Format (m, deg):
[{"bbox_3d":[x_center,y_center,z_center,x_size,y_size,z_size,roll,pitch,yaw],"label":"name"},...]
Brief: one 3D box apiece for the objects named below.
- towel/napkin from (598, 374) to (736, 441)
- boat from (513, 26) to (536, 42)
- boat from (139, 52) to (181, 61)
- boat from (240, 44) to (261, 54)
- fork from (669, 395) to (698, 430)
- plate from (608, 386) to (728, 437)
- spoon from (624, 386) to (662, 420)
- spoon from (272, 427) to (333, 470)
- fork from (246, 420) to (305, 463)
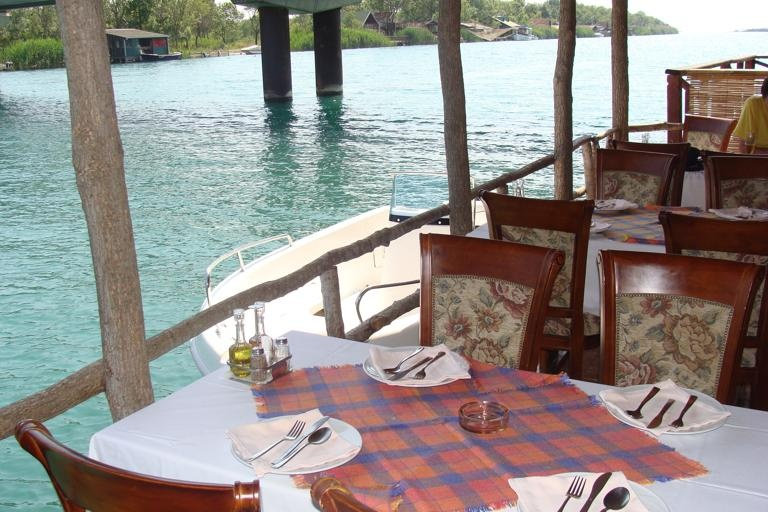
[{"bbox_3d":[0.732,0.395,1.675,0.180,0.023,0.171,-8,18,-7],"label":"towel/napkin"},{"bbox_3d":[21.350,-33.480,97.044,5.466,1.960,0.579,-16,23,-41],"label":"boat"},{"bbox_3d":[-19.917,-17.784,57.572,0.946,0.885,6.816,0,15,7],"label":"boat"},{"bbox_3d":[-15.223,-23.657,73.926,1.959,1.301,4.981,-5,16,-11],"label":"boat"},{"bbox_3d":[0.787,0.403,1.669,0.035,0.019,0.201,8,25,38],"label":"fork"},{"bbox_3d":[0.745,0.402,1.678,0.167,0.025,0.172,-14,20,-38],"label":"plate"},{"bbox_3d":[0.683,0.390,1.704,0.047,0.015,0.149,16,34,41],"label":"spoon"},{"bbox_3d":[-0.185,0.455,1.554,0.045,0.026,0.233,16,25,35],"label":"spoon"},{"bbox_3d":[-0.258,0.457,1.564,0.024,0.023,0.172,5,26,43],"label":"fork"}]
